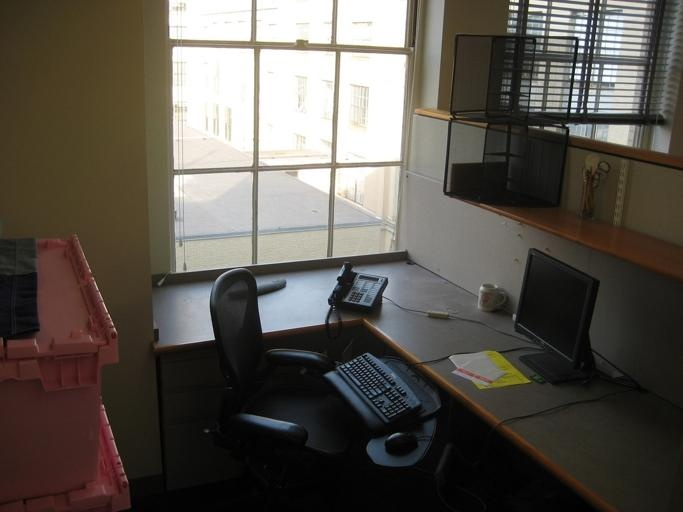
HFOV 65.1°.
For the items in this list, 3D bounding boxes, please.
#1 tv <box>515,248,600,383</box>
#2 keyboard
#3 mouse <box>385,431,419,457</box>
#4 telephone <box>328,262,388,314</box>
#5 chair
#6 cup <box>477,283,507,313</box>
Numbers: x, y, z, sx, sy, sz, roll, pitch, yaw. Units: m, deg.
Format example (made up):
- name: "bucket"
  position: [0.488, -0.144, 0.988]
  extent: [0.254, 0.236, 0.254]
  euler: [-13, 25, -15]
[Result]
- name: "tv"
  position: [1.021, 0.295, 2.504]
  extent: [0.267, 0.498, 0.430]
  euler: [-7, 23, -17]
- name: "keyboard"
  position: [0.170, 0.631, 2.528]
  extent: [0.251, 0.091, 0.509]
  euler: [-10, 21, -24]
- name: "mouse"
  position: [0.236, 0.756, 2.176]
  extent: [0.109, 0.037, 0.077]
  euler: [-14, 21, -25]
- name: "telephone"
  position: [0.097, 0.193, 3.205]
  extent: [0.270, 0.178, 0.384]
  euler: [0, 24, 17]
- name: "chair"
  position: [-0.061, 0.647, 2.579]
  extent: [1.086, 1.156, 0.931]
  euler: [-1, 14, 4]
- name: "cup"
  position: [0.877, 0.247, 3.161]
  extent: [0.177, 0.151, 0.109]
  euler: [7, 17, 5]
